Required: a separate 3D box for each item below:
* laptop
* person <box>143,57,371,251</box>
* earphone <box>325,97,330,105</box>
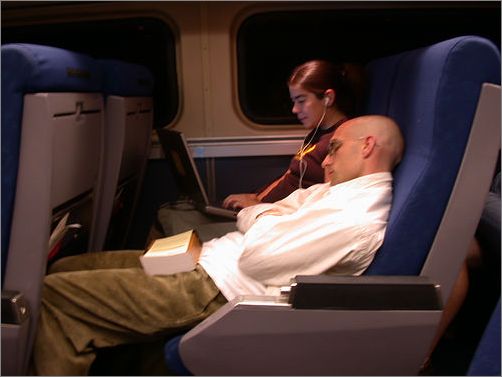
[{"bbox_3d":[-0.388,-0.111,2.429,0.472,0.423,0.543,3,9,-26],"label":"laptop"},{"bbox_3d":[0.085,-0.094,2.533,1.101,1.298,0.514,-4,39,9],"label":"person"},{"bbox_3d":[0.396,-0.447,2.150,0.011,0.033,0.023,8,6,21],"label":"earphone"}]
